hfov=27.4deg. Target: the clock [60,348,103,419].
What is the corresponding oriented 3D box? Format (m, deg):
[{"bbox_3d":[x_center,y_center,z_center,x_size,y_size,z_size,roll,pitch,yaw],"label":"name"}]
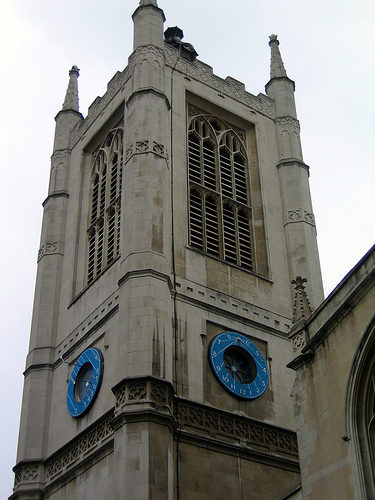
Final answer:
[{"bbox_3d":[-3.731,4.785,27.296,0.645,1.845,1.793,24,-72,-21],"label":"clock"}]
